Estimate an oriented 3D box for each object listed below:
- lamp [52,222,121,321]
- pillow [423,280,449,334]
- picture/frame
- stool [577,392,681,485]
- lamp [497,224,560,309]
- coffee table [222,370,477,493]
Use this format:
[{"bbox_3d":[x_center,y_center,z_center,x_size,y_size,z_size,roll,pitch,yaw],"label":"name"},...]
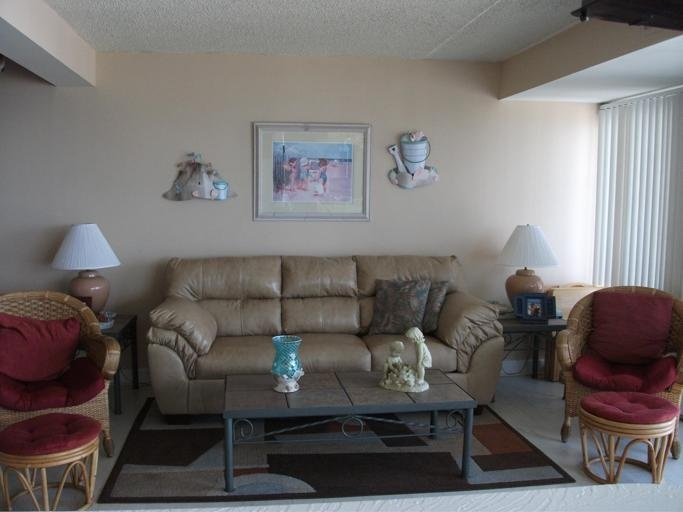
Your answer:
[{"bbox_3d":[-2.177,0.129,4.611,0.533,0.766,0.510,-2,5,-15],"label":"lamp"},{"bbox_3d":[0.813,0.437,4.646,0.238,0.404,0.113,0,-22,45],"label":"pillow"},{"bbox_3d":[-0.322,-0.819,5.003,0.984,0.780,0.079,0,9,-4],"label":"picture/frame"},{"bbox_3d":[1.846,1.185,3.555,0.605,0.522,0.482,-3,12,-17],"label":"stool"},{"bbox_3d":[1.621,0.086,4.976,0.694,0.948,0.675,-1,4,22],"label":"lamp"},{"bbox_3d":[-0.001,1.127,3.637,1.544,0.530,0.566,-1,12,-8],"label":"coffee table"}]
